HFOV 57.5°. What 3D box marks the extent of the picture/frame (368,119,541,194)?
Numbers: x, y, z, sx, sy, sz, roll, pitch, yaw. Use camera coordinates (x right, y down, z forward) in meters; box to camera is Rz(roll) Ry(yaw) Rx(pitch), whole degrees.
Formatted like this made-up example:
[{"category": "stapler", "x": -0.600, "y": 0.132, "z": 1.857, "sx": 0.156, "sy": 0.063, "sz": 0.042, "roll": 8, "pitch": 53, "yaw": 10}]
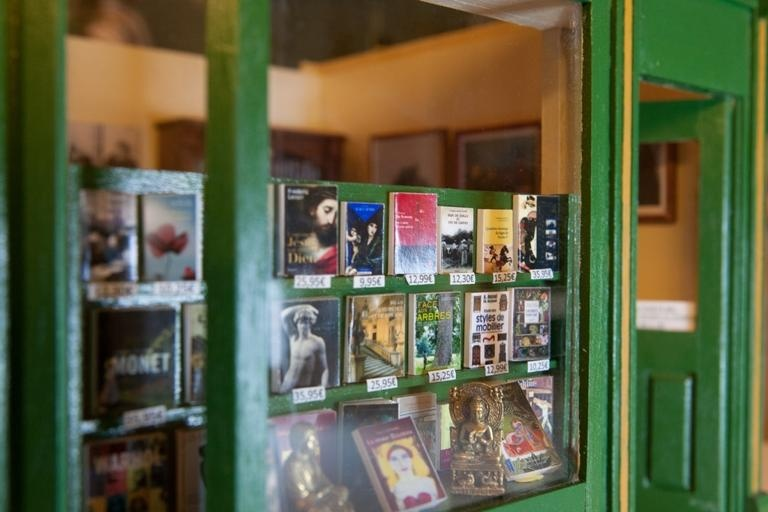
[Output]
[{"category": "picture/frame", "x": 0.339, "y": -0.411, "z": 3.069, "sx": 0.614, "sy": 0.319, "sz": 0.141, "roll": -3, "pitch": 0, "yaw": -14}]
